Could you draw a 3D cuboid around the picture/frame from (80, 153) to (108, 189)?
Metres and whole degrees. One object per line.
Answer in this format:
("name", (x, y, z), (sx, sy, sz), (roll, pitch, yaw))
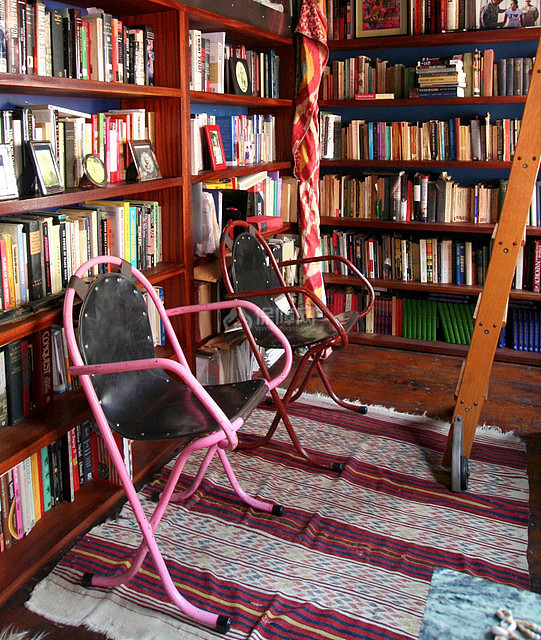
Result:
("picture/frame", (-0.587, -0.486, 1.777), (0.025, 0.101, 0.104), (-10, 30, 26))

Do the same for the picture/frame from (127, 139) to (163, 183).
("picture/frame", (-0.506, -0.612, 2.082), (0.101, 0.157, 0.170), (7, 22, 13))

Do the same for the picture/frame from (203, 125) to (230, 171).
("picture/frame", (-0.271, -0.845, 2.628), (0.030, 0.258, 0.207), (-7, 32, 20))
